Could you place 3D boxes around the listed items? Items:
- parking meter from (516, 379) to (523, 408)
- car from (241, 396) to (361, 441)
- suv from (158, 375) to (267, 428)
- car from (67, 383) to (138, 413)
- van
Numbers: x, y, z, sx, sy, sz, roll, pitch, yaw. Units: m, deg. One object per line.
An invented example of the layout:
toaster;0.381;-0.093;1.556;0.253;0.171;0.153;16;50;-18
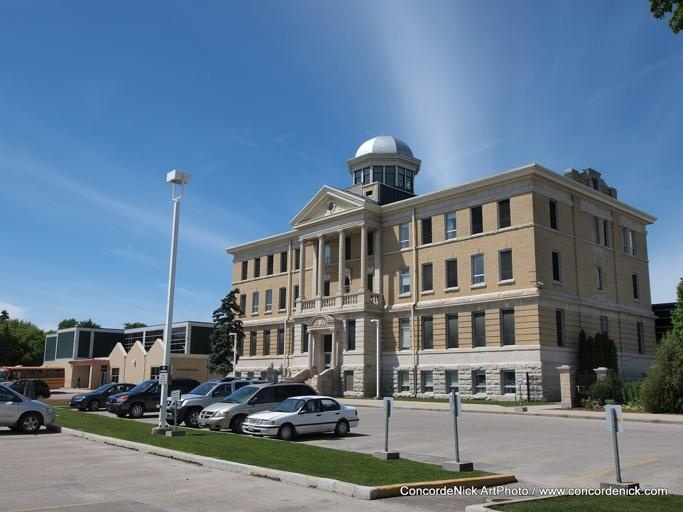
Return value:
parking meter;12.449;9.513;40.559;0.213;1.200;0.567;11;-19;-27
car;-1.560;6.579;23.476;3.705;1.204;1.965;10;-16;-35
suv;-7.058;7.232;28.985;4.229;1.847;2.172;10;-17;-37
car;-15.560;9.429;37.960;4.330;1.429;1.919;8;-13;-35
van;-3.621;6.970;26.291;5.061;1.761;2.267;7;-14;-34
